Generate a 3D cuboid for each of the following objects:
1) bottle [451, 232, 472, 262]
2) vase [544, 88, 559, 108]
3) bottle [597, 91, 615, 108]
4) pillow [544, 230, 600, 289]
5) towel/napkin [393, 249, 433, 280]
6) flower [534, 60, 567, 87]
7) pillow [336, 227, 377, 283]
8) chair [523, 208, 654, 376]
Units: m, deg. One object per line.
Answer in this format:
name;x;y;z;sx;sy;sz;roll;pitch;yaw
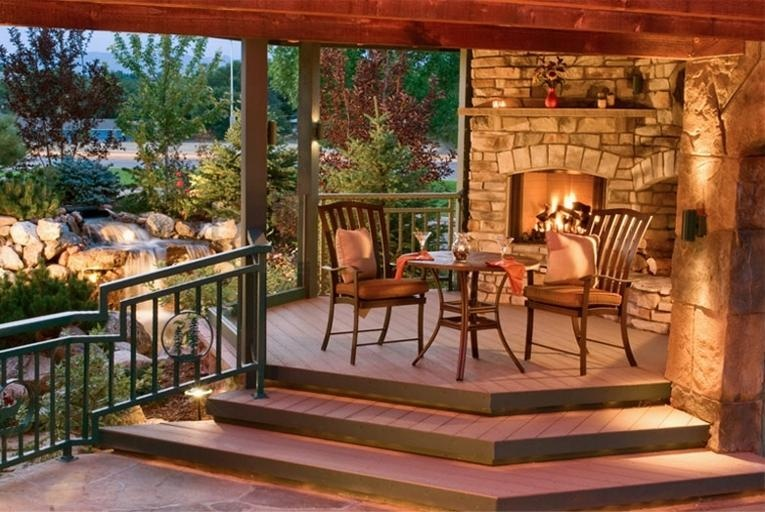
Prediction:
bottle;0.740;-0.096;6.178;0.154;0.249;0.285;-1;9;0
vase;2.164;-2.034;8.291;0.179;0.278;0.316;1;9;12
bottle;2.791;-1.953;8.072;0.207;0.142;0.200;-1;12;0
pillow;1.881;0.035;6.465;0.604;0.551;0.218;5;0;-20
towel/napkin;0.286;0.080;6.323;0.315;0.125;0.297;-2;7;9
flower;2.147;-2.311;8.274;0.389;0.368;0.385;4;17;21
pillow;-0.274;-0.002;6.506;0.294;0.527;0.537;-12;-2;32
chair;2.005;0.310;6.428;1.192;1.448;1.078;-2;6;-9
